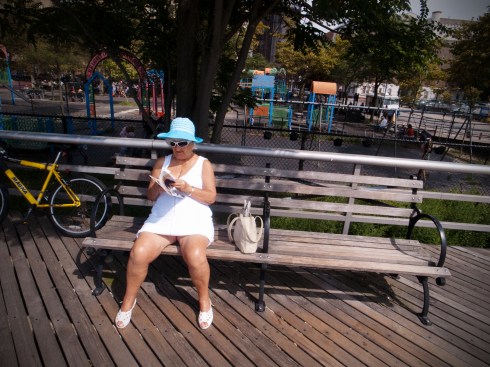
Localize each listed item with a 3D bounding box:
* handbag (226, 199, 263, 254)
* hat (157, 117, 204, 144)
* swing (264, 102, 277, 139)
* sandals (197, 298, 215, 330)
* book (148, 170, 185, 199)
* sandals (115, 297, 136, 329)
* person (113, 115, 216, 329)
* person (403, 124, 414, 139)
[{"bbox_3d":[0.002,0.472,4.977,0.468,0.593,0.632,4,11,2],"label":"handbag"},{"bbox_3d":[-0.733,-0.611,4.767,0.363,0.181,0.358,6,5,-7],"label":"hat"},{"bbox_3d":[1.182,-3.331,20.569,0.496,2.493,0.752,-5,-7,31],"label":"swing"},{"bbox_3d":[-0.415,1.495,4.600,0.134,0.217,0.236,13,13,38],"label":"sandals"},{"bbox_3d":[-0.862,0.023,4.590,0.266,0.127,0.353,27,-17,50],"label":"book"},{"bbox_3d":[-1.329,1.463,4.521,0.202,0.239,0.122,-6,14,-42],"label":"sandals"},{"bbox_3d":[-0.831,0.414,4.696,1.031,2.293,0.879,3,11,-7],"label":"person"},{"bbox_3d":[7.477,-2.352,18.549,0.393,0.637,0.937,8,11,19],"label":"person"}]
